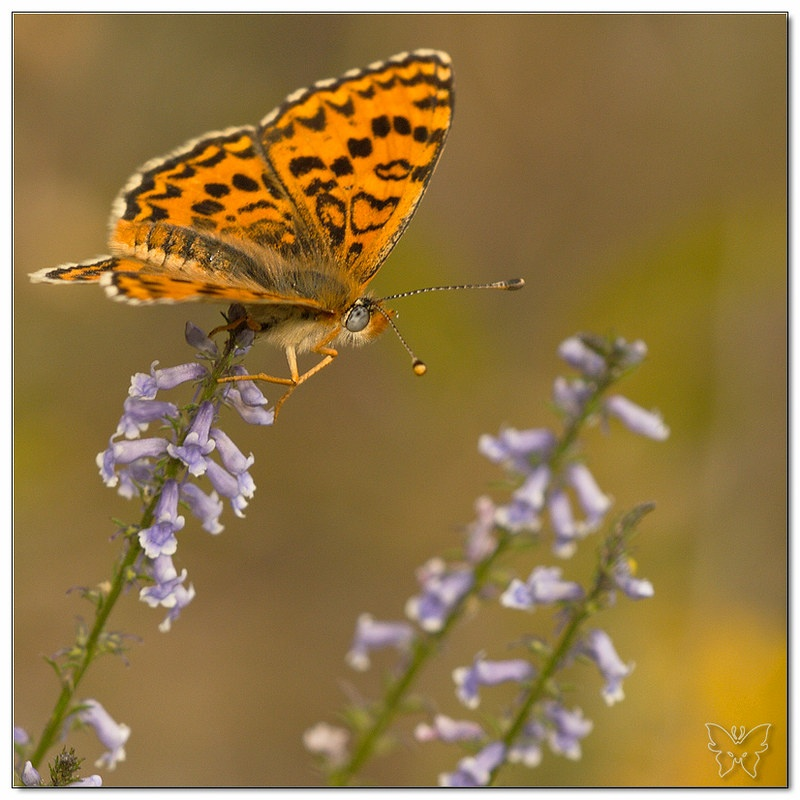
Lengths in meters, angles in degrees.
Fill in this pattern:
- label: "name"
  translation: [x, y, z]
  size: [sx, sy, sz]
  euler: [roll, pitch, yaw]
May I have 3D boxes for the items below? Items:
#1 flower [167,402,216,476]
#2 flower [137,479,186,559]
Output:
- label: "flower"
  translation: [-0.743, 0.151, 4.425]
  size: [0.166, 0.115, 0.267]
  euler: [27, -88, -12]
- label: "flower"
  translation: [-0.862, 0.443, 4.463]
  size: [0.157, 0.129, 0.283]
  euler: [15, -104, -11]
